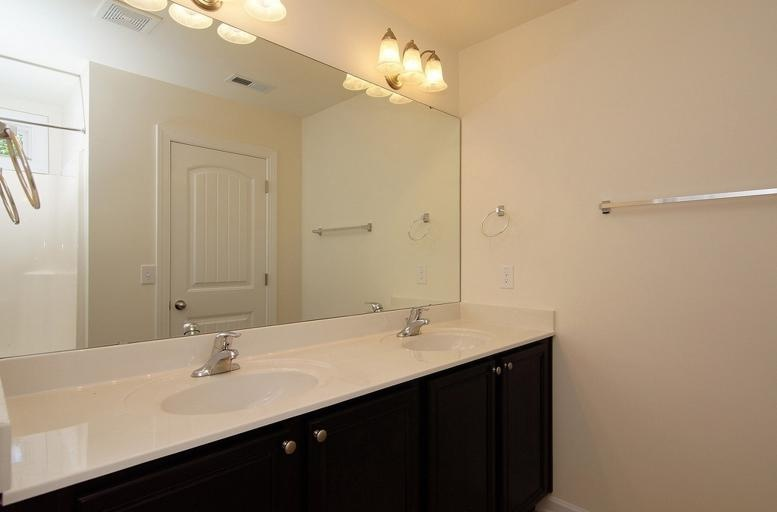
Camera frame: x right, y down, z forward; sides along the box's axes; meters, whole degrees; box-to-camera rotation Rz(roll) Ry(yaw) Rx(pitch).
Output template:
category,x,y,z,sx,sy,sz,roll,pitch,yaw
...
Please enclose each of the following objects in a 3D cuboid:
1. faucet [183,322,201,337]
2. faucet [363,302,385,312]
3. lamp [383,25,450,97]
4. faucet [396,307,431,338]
category,x,y,z,sx,sy,sz,roll,pitch,yaw
faucet,-0.910,0.342,2.294,0.050,0.091,0.093,-12,-13,38
faucet,-0.083,0.303,2.830,0.127,0.063,0.039,1,-1,-30
lamp,0.116,-1.119,2.854,0.465,0.249,0.251,6,-6,-34
faucet,0.166,0.389,2.893,0.112,0.166,0.213,9,-14,-39
